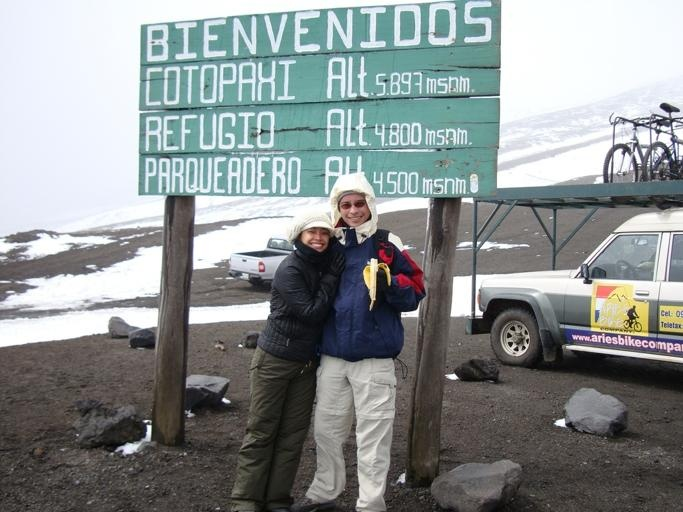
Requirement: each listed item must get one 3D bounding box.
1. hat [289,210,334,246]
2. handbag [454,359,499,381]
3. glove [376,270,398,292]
[{"bbox_3d":[-0.243,-0.216,4.972,0.244,0.230,0.295,-5,-14,-41],"label":"hat"},{"bbox_3d":[1.965,1.650,8.743,0.438,0.205,0.371,4,-3,-18],"label":"handbag"},{"bbox_3d":[0.354,0.196,4.807,0.174,0.161,0.134,-3,7,-2],"label":"glove"}]
